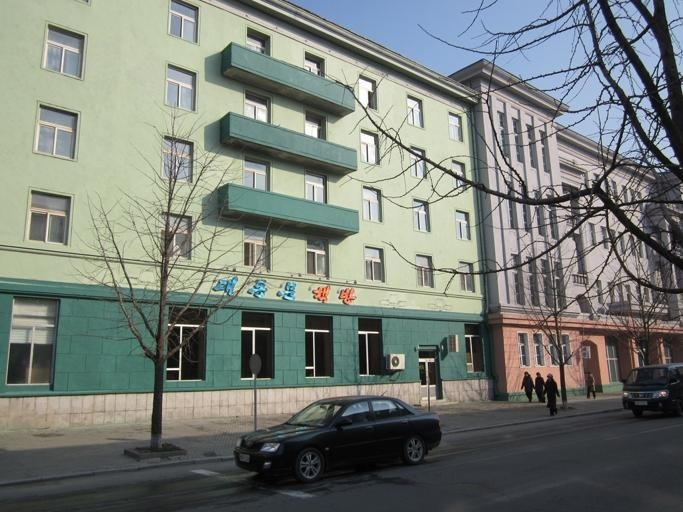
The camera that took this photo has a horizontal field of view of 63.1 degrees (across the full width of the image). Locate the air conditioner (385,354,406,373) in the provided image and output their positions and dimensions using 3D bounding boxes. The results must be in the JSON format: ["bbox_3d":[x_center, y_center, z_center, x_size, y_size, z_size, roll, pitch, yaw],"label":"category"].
[{"bbox_3d":[2.924,5.838,30.597,0.945,0.825,0.365,11,-20,-37],"label":"air conditioner"}]
